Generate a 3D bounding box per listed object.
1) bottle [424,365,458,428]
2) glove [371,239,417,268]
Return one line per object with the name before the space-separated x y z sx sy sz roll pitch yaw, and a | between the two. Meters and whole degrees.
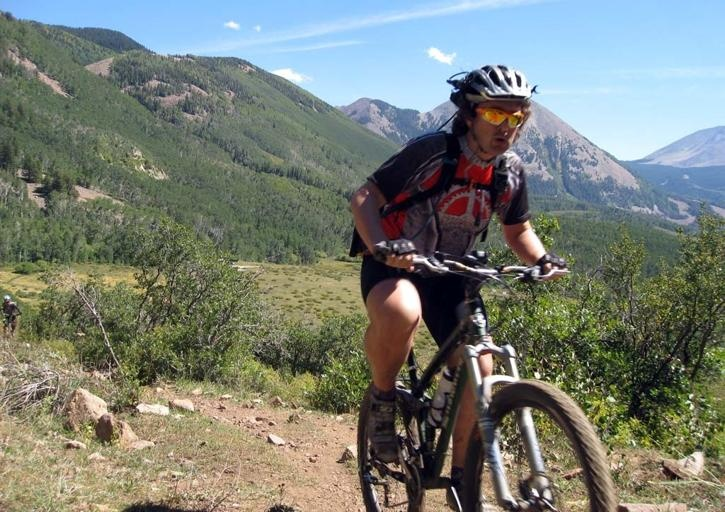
bottle | 0.929 1.760 7.105 0.294 0.806 0.249 4 18 -16
glove | 0.343 -0.021 6.533 0.360 0.204 0.291 15 -2 18
